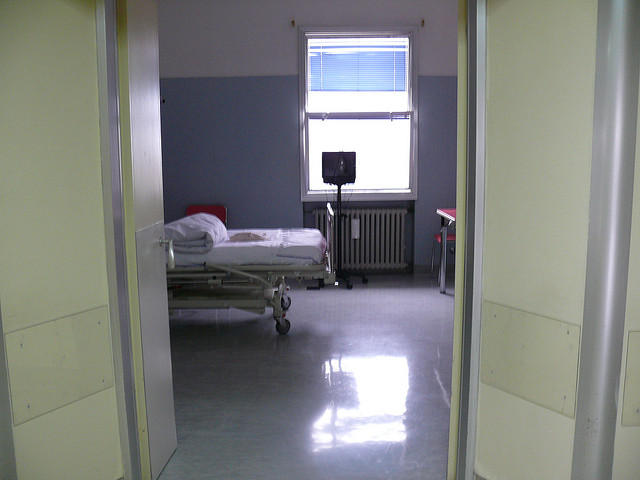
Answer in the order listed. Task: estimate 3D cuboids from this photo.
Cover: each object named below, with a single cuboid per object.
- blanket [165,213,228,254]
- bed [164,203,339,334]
[{"bbox_3d":[-0.976,-0.050,4.559,0.393,0.204,0.596,-1,11,-1],"label":"blanket"},{"bbox_3d":[-0.677,0.172,4.759,1.541,0.869,1.010,1,10,6],"label":"bed"}]
